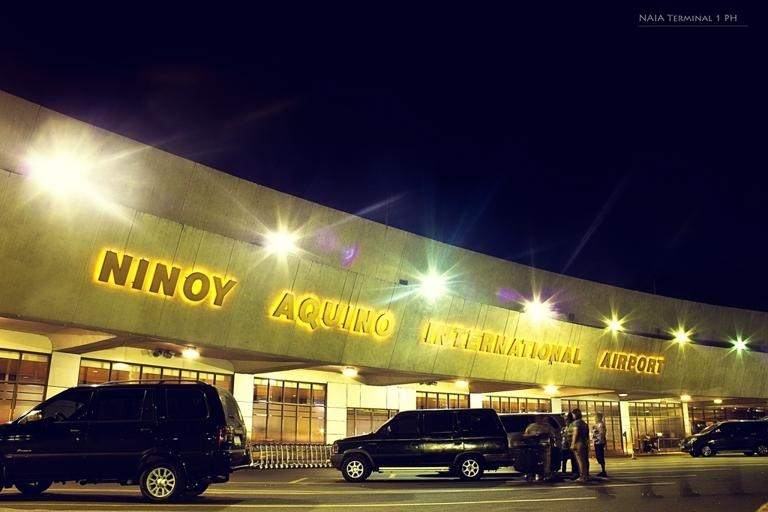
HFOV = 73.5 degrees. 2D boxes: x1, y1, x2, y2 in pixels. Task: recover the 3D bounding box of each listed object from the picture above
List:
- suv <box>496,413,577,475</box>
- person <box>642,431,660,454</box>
[{"bbox_3d":[6.319,7.267,20.935,3.265,1.604,1.889,1,-18,0],"label":"suv"},{"bbox_3d":[21.320,14.585,41.219,1.056,1.511,3.026,-10,-22,32],"label":"person"}]
